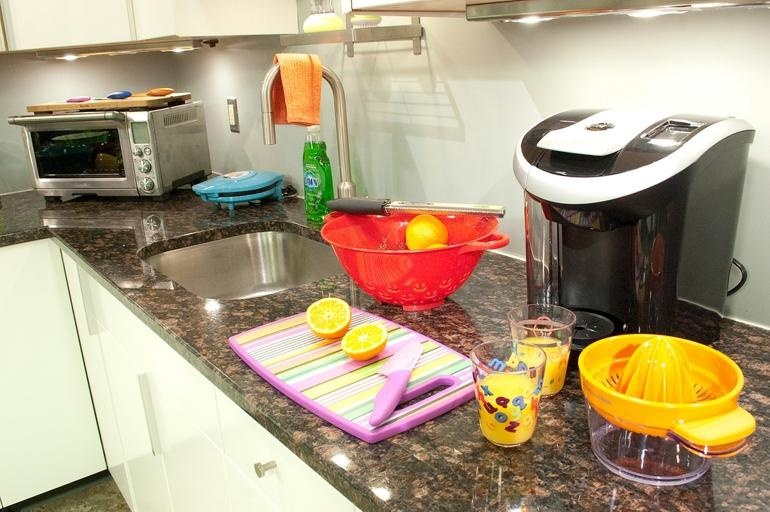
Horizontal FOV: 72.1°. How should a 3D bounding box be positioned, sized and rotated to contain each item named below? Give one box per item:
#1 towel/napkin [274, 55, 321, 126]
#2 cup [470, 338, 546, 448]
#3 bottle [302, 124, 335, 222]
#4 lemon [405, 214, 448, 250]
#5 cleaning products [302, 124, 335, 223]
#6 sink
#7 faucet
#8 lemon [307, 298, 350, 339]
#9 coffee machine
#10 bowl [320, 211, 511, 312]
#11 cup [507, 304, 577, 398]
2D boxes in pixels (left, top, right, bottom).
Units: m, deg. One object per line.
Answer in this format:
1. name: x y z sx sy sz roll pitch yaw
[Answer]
1. towel/napkin: -0.249 -0.480 1.517 0.173 0.212 0.039 12 24 35
2. cup: 0.196 0.215 0.849 0.106 0.133 0.126 9 23 37
3. bottle: -0.208 -0.265 1.729 0.105 0.314 0.132 -9 23 -25
4. lemon: 0.101 -0.042 1.247 0.088 0.079 0.096 5 -24 6
5. cleaning products: -0.205 -0.265 1.737 0.106 0.315 0.133 -8 22 -25
6. sink: -0.422 0.008 1.600 0.402 0.101 0.377 -18 27 -36
7. faucet: -0.231 -0.386 1.600 0.202 0.430 0.278 -14 26 -33
8. lemon: -0.113 0.126 1.090 0.084 0.046 0.078 -17 47 -10
9. coffee machine: 0.446 -0.096 1.092 0.509 0.406 0.378 -20 29 -32
10. bowl: 0.068 0.005 1.180 0.281 0.127 0.354 -12 19 -36
11. cup: 0.270 0.153 0.962 0.128 0.158 0.109 -3 19 -20
